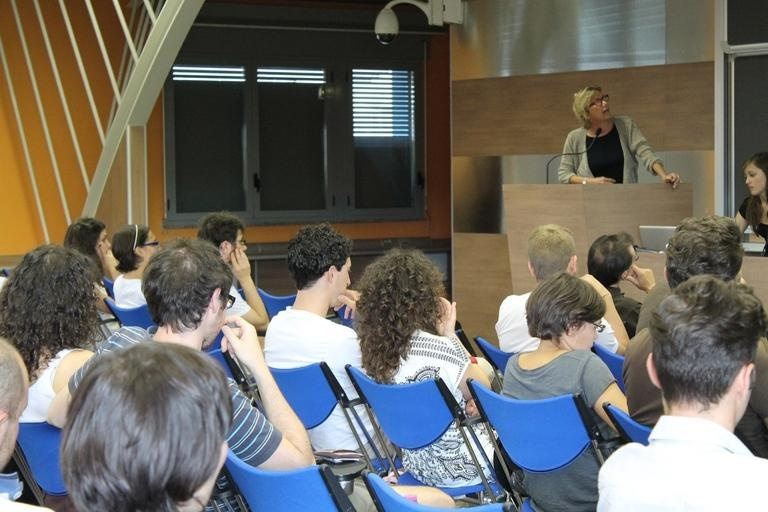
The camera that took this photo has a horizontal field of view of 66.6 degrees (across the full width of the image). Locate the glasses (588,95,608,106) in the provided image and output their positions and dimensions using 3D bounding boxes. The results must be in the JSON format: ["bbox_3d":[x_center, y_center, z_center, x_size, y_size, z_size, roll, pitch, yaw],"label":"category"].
[{"bbox_3d":[1.802,-1.278,4.909,0.120,0.039,0.123,-13,2,-38],"label":"glasses"}]

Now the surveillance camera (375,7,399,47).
[{"bbox_3d":[0.027,-2.577,6.562,0.238,0.365,0.267,-5,6,0],"label":"surveillance camera"}]

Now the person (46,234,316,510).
[{"bbox_3d":[-0.678,0.364,1.990,0.651,1.125,0.584,18,30,27],"label":"person"}]
